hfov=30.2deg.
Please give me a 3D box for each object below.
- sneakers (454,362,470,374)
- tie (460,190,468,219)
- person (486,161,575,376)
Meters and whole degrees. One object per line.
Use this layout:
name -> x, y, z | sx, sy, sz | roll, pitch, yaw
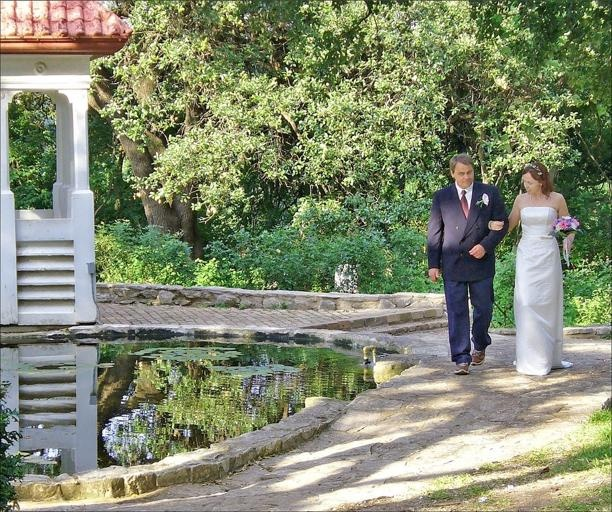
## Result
sneakers -> 1.730, 1.256, 12.596 | 0.173, 0.115, 0.145 | -4, -2, 4
tie -> 1.784, -0.585, 12.820 | 0.062, 0.340, 0.043 | -12, -14, 26
person -> 2.616, 0.129, 12.709 | 0.760, 2.245, 0.434 | -5, -2, -12
